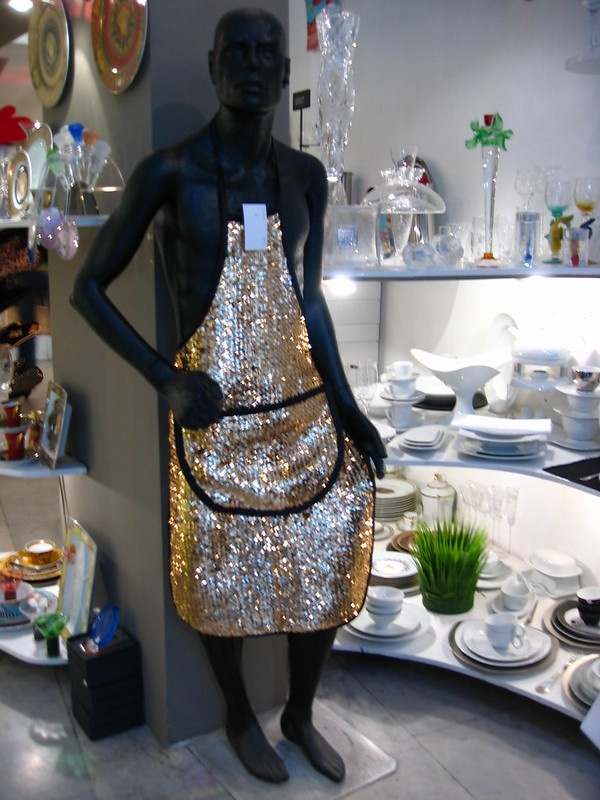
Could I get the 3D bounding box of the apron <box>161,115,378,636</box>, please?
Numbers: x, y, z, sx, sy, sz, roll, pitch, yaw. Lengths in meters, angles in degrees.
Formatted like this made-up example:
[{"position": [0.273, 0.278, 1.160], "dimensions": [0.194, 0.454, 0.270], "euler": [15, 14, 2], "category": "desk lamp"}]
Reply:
[{"position": [-0.076, 0.011, 1.086], "dimensions": [0.266, 0.847, 0.067], "euler": [-4, 17, -18], "category": "apron"}]
